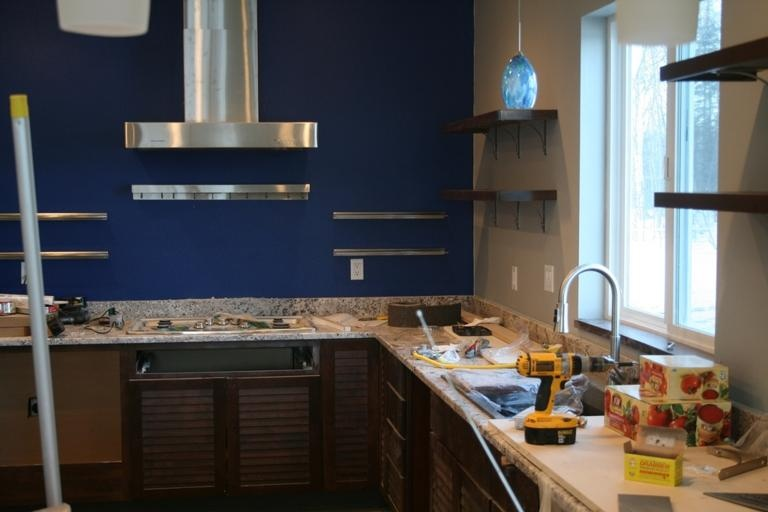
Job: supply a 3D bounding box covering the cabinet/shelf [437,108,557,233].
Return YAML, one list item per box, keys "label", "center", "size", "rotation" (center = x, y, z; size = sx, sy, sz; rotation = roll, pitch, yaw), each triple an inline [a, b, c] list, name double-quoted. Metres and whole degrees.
- label: "cabinet/shelf"
  center: [0.674, -0.497, 4.038]
  size: [0.360, 0.712, 0.872]
  rotation: [-4, 3, -16]

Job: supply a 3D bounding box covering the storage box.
- label: "storage box"
  center: [1.116, 0.525, 2.629]
  size: [0.377, 0.266, 0.373]
  rotation: [-1, 1, -11]

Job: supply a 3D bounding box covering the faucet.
- label: "faucet"
  center: [0.868, 0.267, 2.819]
  size: [0.330, 0.460, 0.090]
  rotation: [-4, 8, -11]

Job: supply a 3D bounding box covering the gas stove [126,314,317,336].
- label: "gas stove"
  center: [-1.112, 0.393, 4.587]
  size: [1.229, 0.089, 0.573]
  rotation: [1, 4, -15]
